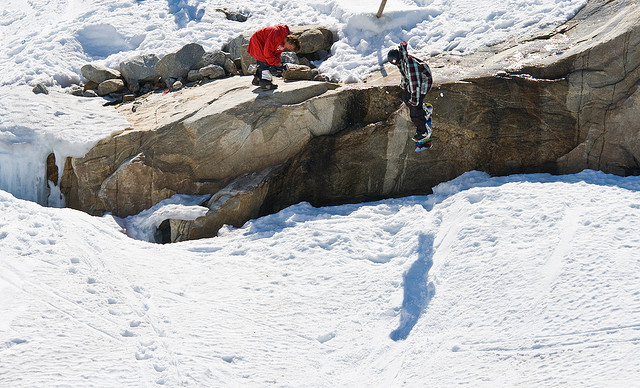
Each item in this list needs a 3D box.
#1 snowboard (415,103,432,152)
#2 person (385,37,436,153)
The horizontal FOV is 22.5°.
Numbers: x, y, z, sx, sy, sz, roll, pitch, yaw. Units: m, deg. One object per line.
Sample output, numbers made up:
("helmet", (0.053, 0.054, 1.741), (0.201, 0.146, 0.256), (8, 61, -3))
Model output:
("snowboard", (2.833, -1.749, 42.302), (0.451, 1.179, 0.617), (12, 14, 29))
("person", (2.433, -2.608, 42.276), (1.326, 2.722, 1.281), (-6, 9, 0))
